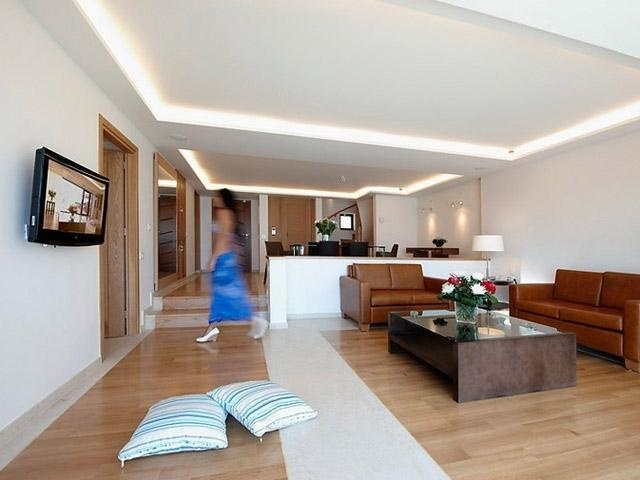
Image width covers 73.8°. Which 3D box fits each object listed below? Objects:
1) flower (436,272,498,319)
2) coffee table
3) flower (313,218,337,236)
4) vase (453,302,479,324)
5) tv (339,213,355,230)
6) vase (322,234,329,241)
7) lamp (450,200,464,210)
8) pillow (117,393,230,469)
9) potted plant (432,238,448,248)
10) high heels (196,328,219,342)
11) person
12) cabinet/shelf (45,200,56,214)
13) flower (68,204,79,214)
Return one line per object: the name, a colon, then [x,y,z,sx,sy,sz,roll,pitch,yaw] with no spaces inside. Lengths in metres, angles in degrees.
flower: [1.576,0.575,4.594,0.536,0.492,0.521,2,-5,0]
coffee table: [1.704,1.136,4.614,1.455,0.652,1.304,-3,13,-13]
flower: [0.087,-0.258,8.276,0.477,0.404,0.488,1,6,27]
vase: [1.626,0.789,4.595,0.224,0.280,0.288,2,-2,-38]
tv: [0.876,-0.556,13.437,0.537,0.576,0.079,3,-8,-7]
vase: [0.139,-0.037,8.313,0.134,0.142,0.130,2,-4,-9]
lamp: [2.946,-0.752,9.119,0.078,0.128,0.248,-2,-5,-13]
pillow: [-1.099,1.473,3.313,0.487,0.135,0.497,0,11,-9]
potted plant: [2.626,0.058,9.326,0.245,0.156,0.241,1,0,11]
high heels: [-1.441,1.246,5.529,0.271,0.129,0.144,2,-5,-31]
person: [-1.123,0.387,5.244,0.897,2.151,1.471,-2,13,-8]
cabinet/shelf: [-2.293,-0.278,3.644,0.082,0.140,0.078,2,2,-41]
flower: [-2.257,-0.289,3.918,0.049,0.064,0.065,26,20,-42]
